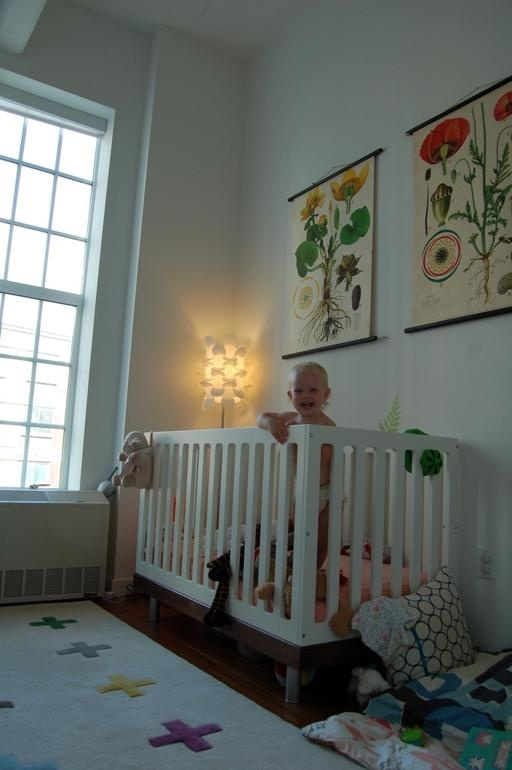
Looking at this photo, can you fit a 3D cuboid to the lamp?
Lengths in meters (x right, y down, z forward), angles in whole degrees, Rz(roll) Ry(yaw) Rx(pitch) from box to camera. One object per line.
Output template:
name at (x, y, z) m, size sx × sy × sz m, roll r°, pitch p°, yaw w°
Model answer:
lamp at (-0.185, -0.009, 3.090) m, size 0.250 × 0.485 × 0.257 m, roll 4°, pitch -2°, yaw -24°

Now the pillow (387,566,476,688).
pillow at (0.446, 0.634, 1.486) m, size 0.280 × 0.208 × 0.097 m, roll -2°, pitch -6°, yaw -41°

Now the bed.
bed at (0.035, 0.459, 2.025) m, size 0.650 × 0.661 × 1.109 m, roll 3°, pitch -1°, yaw -38°

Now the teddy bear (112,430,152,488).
teddy bear at (-0.511, 0.354, 2.412) m, size 0.190 × 0.311 × 0.253 m, roll 5°, pitch -17°, yaw -13°
